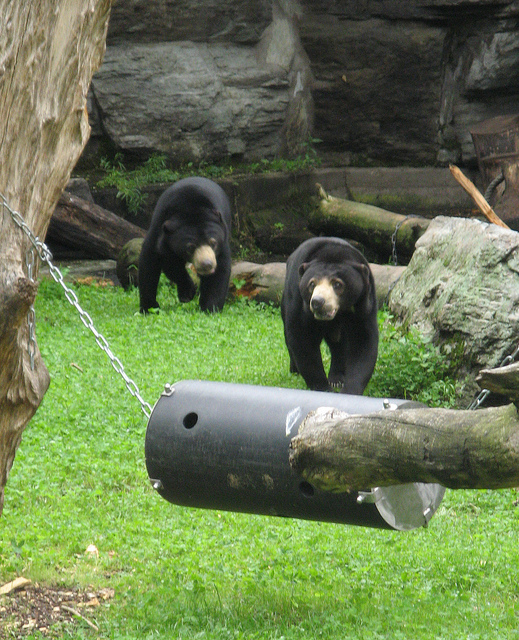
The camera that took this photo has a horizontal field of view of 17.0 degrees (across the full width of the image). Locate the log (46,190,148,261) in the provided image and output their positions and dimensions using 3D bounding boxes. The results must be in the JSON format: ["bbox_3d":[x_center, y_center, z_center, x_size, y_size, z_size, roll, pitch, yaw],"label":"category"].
[{"bbox_3d":[-1.628,-0.902,16.502,0.522,0.780,0.840,10,20,37],"label":"log"}]

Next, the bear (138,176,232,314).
[{"bbox_3d":[-0.640,-0.711,14.994,0.495,1.188,1.263,1,3,4],"label":"bear"}]

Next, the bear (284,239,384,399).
[{"bbox_3d":[0.514,-0.071,12.181,0.495,1.333,0.607,0,10,-4],"label":"bear"}]

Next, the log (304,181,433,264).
[{"bbox_3d":[1.039,-1.289,16.385,0.460,0.836,1.815,-11,17,-18],"label":"log"}]
